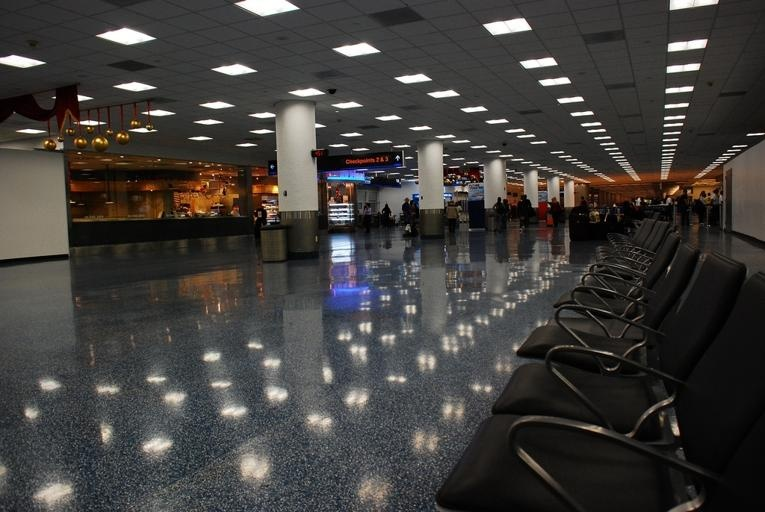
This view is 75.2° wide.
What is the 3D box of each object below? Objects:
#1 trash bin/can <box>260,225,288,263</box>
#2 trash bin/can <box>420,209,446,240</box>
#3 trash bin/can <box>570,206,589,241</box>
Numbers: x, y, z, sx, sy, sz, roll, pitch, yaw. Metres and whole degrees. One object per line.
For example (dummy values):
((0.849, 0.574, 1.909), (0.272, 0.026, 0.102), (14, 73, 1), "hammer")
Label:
((-2.788, -0.273, 12.910), (0.804, 0.807, 0.762), (-3, 3, -17), "trash bin/can")
((2.017, -1.360, 21.566), (1.214, 1.273, 1.206), (2, 2, 23), "trash bin/can")
((6.635, -1.014, 17.130), (0.685, 1.144, 1.257), (3, -4, 10), "trash bin/can")
